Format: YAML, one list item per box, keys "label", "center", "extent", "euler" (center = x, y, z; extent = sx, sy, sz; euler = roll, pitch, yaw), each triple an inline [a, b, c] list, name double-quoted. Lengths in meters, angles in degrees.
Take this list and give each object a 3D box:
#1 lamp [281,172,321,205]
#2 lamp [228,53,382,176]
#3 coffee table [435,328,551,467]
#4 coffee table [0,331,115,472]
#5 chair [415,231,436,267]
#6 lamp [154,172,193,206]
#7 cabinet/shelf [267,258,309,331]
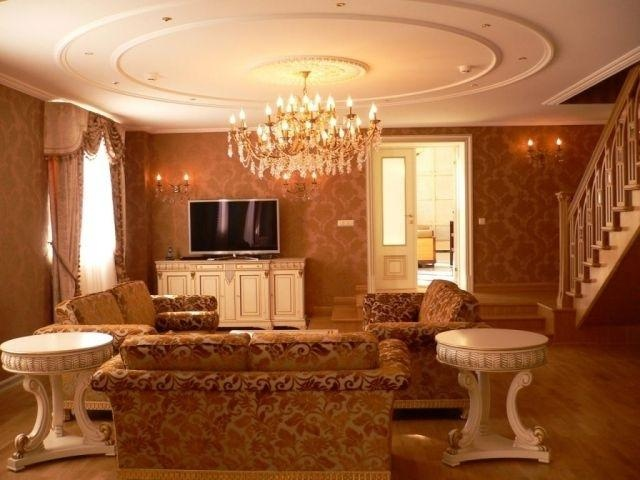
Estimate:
- label: "lamp"
  center: [-0.297, -0.860, 8.204]
  extent: [0.558, 0.510, 0.166]
  euler: [0, 0, -3]
- label: "lamp"
  center: [-0.219, -1.221, 5.765]
  extent: [1.607, 0.993, 1.581]
  euler: [-5, -3, -5]
- label: "coffee table"
  center: [1.255, 1.166, 3.970]
  extent: [0.909, 0.958, 0.915]
  euler: [-1, 6, -6]
- label: "coffee table"
  center: [-2.008, 1.229, 4.016]
  extent: [0.932, 0.978, 0.944]
  euler: [0, 0, 11]
- label: "chair"
  center: [2.635, 0.217, 12.636]
  extent: [0.642, 1.236, 0.908]
  euler: [-1, 2, 9]
- label: "lamp"
  center: [-2.435, -0.839, 8.331]
  extent: [0.561, 0.521, 0.172]
  euler: [0, -4, -4]
- label: "cabinet/shelf"
  center: [-0.506, 0.852, 7.908]
  extent: [0.546, 1.099, 0.289]
  euler: [-1, 6, 8]
